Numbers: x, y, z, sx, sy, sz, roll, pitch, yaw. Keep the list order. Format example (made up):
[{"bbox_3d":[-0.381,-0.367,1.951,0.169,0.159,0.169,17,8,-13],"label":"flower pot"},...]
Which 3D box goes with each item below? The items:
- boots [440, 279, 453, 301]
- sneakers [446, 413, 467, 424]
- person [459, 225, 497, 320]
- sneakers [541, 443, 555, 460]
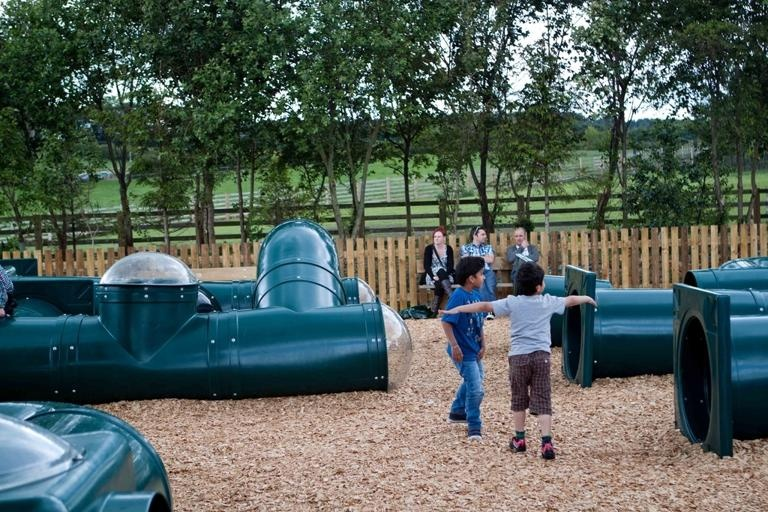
[{"bbox_3d":[1.454,0.700,25.137,0.354,0.532,0.288,-4,-3,20],"label":"boots"},{"bbox_3d":[1.289,2.819,19.149,0.340,0.166,0.136,1,3,6],"label":"sneakers"},{"bbox_3d":[2.173,0.306,24.508,0.747,2.002,1.035,-6,15,-16],"label":"person"},{"bbox_3d":[2.737,3.225,18.152,0.131,0.145,0.343,0,9,3],"label":"sneakers"}]
